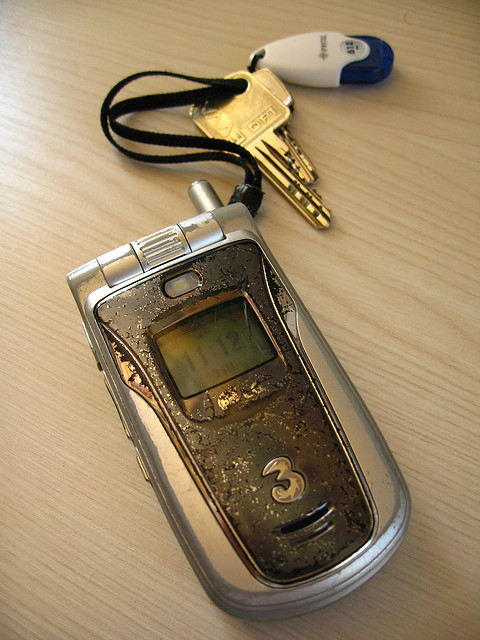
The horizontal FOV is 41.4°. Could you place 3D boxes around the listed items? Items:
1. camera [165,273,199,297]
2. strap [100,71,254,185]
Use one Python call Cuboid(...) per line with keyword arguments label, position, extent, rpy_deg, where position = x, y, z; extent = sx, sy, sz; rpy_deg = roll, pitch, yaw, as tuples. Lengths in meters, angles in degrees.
Cuboid(label="camera", position=(-0.058, -0.035, 0.634), extent=(0.034, 0.008, 0.017), rpy_deg=(-27, 59, -2))
Cuboid(label="strap", position=(-0.075, -0.227, 0.754), extent=(0.171, 0.077, 0.166), rpy_deg=(-7, 60, 11))
